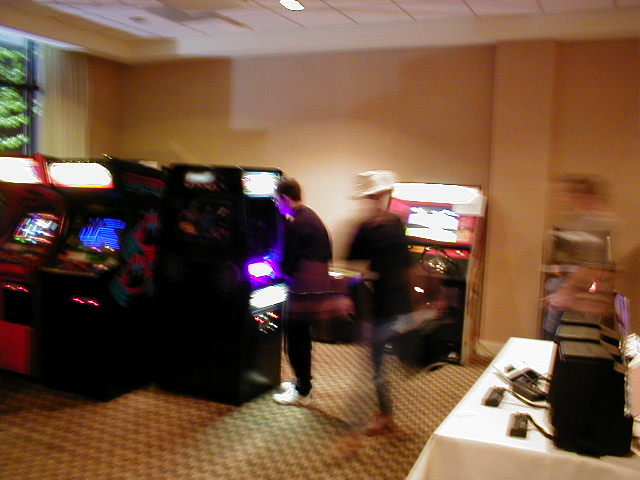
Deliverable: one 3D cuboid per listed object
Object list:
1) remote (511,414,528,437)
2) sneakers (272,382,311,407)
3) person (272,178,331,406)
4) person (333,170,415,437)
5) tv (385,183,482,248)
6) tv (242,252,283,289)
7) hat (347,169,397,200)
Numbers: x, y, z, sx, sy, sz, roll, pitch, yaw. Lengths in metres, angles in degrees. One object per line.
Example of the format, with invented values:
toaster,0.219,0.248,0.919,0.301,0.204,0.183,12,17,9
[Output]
remote,0.874,0.818,2.249,0.056,0.019,0.106,7,13,25
sneakers,-0.264,1.183,3.939,0.352,0.141,0.114,2,0,28
person,-0.131,0.398,3.774,0.469,1.668,0.380,4,14,5
person,0.381,0.439,3.415,0.467,1.768,0.360,15,18,40
tv,1.053,-0.211,4.590,0.696,0.433,0.090,6,-18,23
tv,-0.415,0.224,3.759,0.060,0.215,0.257,-6,9,35
hat,0.347,-0.371,3.423,0.294,0.203,0.194,-4,20,13
